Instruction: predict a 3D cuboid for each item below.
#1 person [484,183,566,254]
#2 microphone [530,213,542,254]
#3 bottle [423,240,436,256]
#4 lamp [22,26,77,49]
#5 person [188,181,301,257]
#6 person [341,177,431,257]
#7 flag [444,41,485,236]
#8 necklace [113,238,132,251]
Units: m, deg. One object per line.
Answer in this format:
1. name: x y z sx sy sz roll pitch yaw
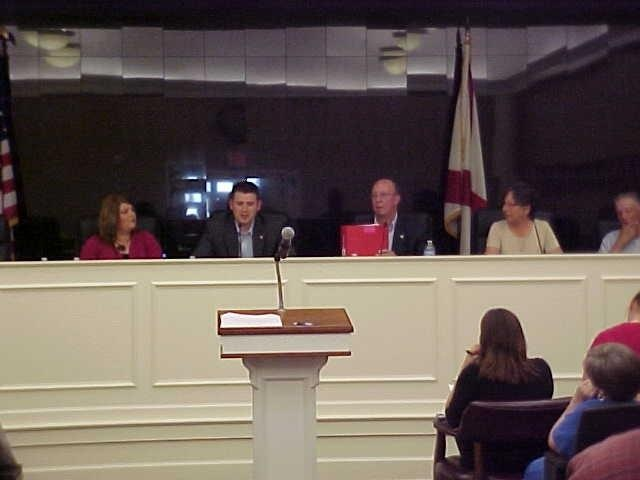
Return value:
1. person: 1.704 -0.080 7.223 0.778 0.851 0.487 0 -1 28
2. microphone: 1.825 -0.055 7.092 0.041 0.341 0.032 -6 -13 -29
3. bottle: 0.902 0.067 6.941 0.111 0.162 0.117 0 -4 0
4. lamp: -2.438 -1.830 7.620 0.277 0.250 0.063 4 -29 -6
5. person: -0.642 -0.103 7.231 0.676 0.507 0.681 0 -1 -4
6. person: 0.661 -0.195 7.191 0.610 0.646 0.995 -2 3 5
7. flag: 1.248 -0.876 7.428 0.347 1.690 0.553 -2 3 1
8. necklace: -1.599 0.044 6.853 0.073 0.110 0.024 5 -28 -11
